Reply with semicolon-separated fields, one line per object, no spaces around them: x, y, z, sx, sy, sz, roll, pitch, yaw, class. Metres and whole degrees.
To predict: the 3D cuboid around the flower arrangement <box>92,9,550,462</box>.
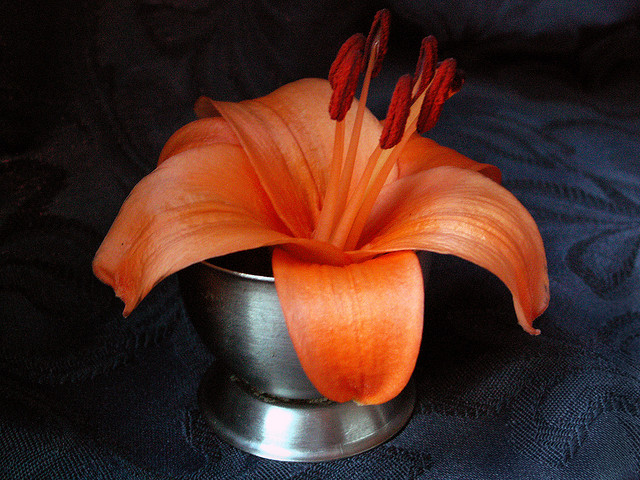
-0.023;-0.005;0.690;0.421;0.389;0.434;-12;33;-25;flower arrangement

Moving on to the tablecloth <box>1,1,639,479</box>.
-0.020;0.003;0.724;0.641;0.249;0.642;-1;51;-7;tablecloth

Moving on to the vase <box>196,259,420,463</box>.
-0.018;0.101;0.670;0.209;0.219;0.189;7;88;-47;vase
